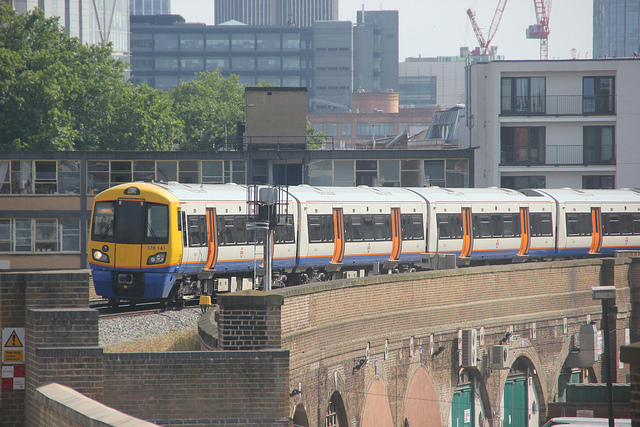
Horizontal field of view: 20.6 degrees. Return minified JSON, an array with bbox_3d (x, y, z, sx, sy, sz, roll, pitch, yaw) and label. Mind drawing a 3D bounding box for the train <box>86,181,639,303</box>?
[{"bbox_3d":[1.885,1.887,104.632,51.683,8.093,7.089,0,-1,-34],"label":"train"}]
